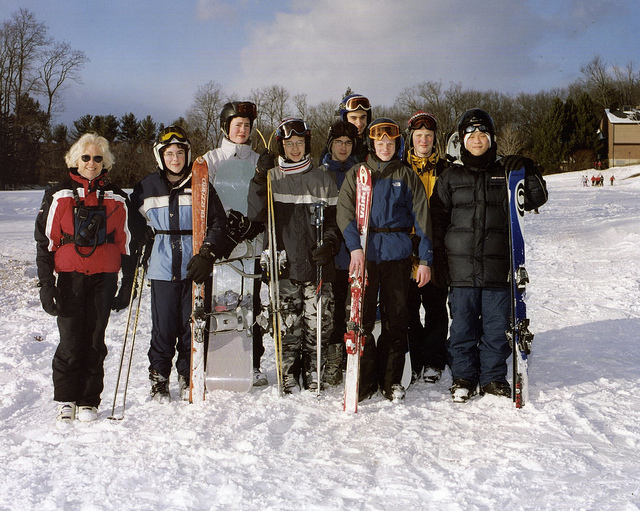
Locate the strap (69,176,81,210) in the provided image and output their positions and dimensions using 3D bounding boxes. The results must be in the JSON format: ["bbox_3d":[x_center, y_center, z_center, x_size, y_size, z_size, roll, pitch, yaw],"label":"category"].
[{"bbox_3d":[-2.104,-0.526,5.542,0.030,0.294,0.037,-17,-13,-16],"label":"strap"}]

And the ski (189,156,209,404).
[{"bbox_3d":[-1.110,0.242,5.887,0.163,2.081,0.144,1,-2,-18],"label":"ski"}]

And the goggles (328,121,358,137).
[{"bbox_3d":[0.241,-1.273,6.477,0.346,0.133,0.181,-3,2,-32],"label":"goggles"}]

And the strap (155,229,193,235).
[{"bbox_3d":[-1.346,-0.214,5.952,0.330,0.044,0.071,-2,2,-8],"label":"strap"}]

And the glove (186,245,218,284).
[{"bbox_3d":[-1.038,0.067,5.768,0.205,0.340,0.103,41,-19,-31],"label":"glove"}]

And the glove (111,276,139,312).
[{"bbox_3d":[-1.761,0.355,5.770,0.181,0.293,0.087,5,-6,3],"label":"glove"}]

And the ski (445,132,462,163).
[{"bbox_3d":[1.328,-1.065,6.391,0.161,0.264,0.056,0,13,16],"label":"ski"}]

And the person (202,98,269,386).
[{"bbox_3d":[-0.814,-0.027,6.197,0.342,2.937,0.611,0,1,-6],"label":"person"}]

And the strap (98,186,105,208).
[{"bbox_3d":[-1.897,-0.500,5.610,0.029,0.164,0.027,12,-22,-18],"label":"strap"}]

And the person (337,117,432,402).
[{"bbox_3d":[0.606,0.006,6.036,0.868,2.012,0.629,-1,1,1],"label":"person"}]

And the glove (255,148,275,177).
[{"bbox_3d":[-0.510,-0.866,6.019,0.172,0.225,0.318,-2,1,-4],"label":"glove"}]

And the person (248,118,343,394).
[{"bbox_3d":[-0.128,-0.002,6.086,0.644,2.163,0.491,-1,1,14],"label":"person"}]

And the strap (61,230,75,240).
[{"bbox_3d":[-2.138,-0.166,5.485,0.086,0.023,0.063,35,3,21],"label":"strap"}]

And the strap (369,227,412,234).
[{"bbox_3d":[0.653,-0.235,5.955,0.403,0.050,0.108,-3,2,-25],"label":"strap"}]

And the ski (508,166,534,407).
[{"bbox_3d":[1.817,0.257,5.779,0.171,2.458,0.236,-3,3,-19],"label":"ski"}]

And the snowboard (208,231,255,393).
[{"bbox_3d":[-0.876,0.592,6.189,0.408,0.229,1.681,-4,39,-5],"label":"snowboard"}]

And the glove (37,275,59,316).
[{"bbox_3d":[-2.247,0.334,5.350,0.096,0.313,0.208,1,6,2],"label":"glove"}]

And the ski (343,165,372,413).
[{"bbox_3d":[0.399,0.295,5.787,0.259,2.123,0.283,2,-1,13],"label":"ski"}]

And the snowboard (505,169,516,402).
[{"bbox_3d":[1.694,0.254,5.768,0.092,1.377,0.239,-1,1,17],"label":"snowboard"}]

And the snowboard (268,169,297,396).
[{"bbox_3d":[-0.334,0.256,6.040,0.193,2.057,0.247,-1,-1,12],"label":"snowboard"}]

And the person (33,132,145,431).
[{"bbox_3d":[-1.992,0.177,5.582,0.855,2.575,0.399,-2,1,-25],"label":"person"}]

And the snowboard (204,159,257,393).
[{"bbox_3d":[-0.894,0.261,6.124,0.526,2.731,0.471,-2,27,-13],"label":"snowboard"}]

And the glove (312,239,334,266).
[{"bbox_3d":[0.030,-0.030,5.912,0.134,0.194,0.247,-1,2,28],"label":"glove"}]

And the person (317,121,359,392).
[{"bbox_3d":[0.193,-0.001,6.380,0.328,2.781,0.173,2,4,1],"label":"person"}]
